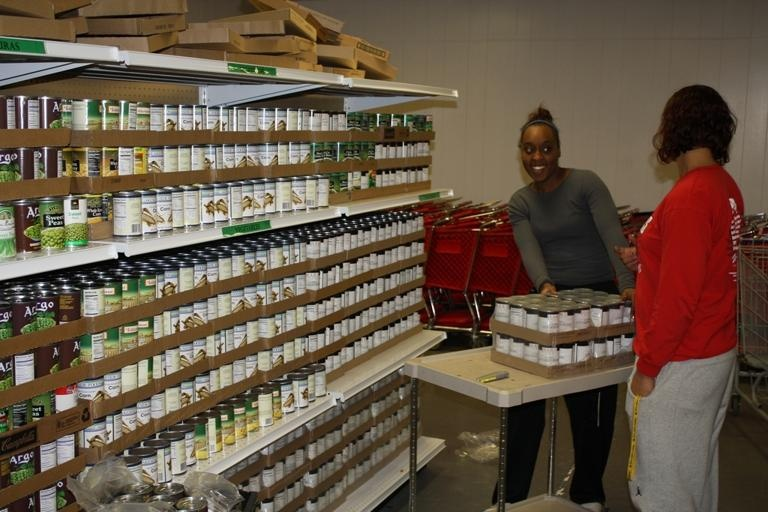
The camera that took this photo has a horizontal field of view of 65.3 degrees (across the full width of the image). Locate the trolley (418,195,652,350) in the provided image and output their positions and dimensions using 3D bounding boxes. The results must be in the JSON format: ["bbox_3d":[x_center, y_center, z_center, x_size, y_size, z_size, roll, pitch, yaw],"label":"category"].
[{"bbox_3d":[2.002,0.165,7.283,1.962,1.913,2.604,2,-1,13],"label":"trolley"}]
